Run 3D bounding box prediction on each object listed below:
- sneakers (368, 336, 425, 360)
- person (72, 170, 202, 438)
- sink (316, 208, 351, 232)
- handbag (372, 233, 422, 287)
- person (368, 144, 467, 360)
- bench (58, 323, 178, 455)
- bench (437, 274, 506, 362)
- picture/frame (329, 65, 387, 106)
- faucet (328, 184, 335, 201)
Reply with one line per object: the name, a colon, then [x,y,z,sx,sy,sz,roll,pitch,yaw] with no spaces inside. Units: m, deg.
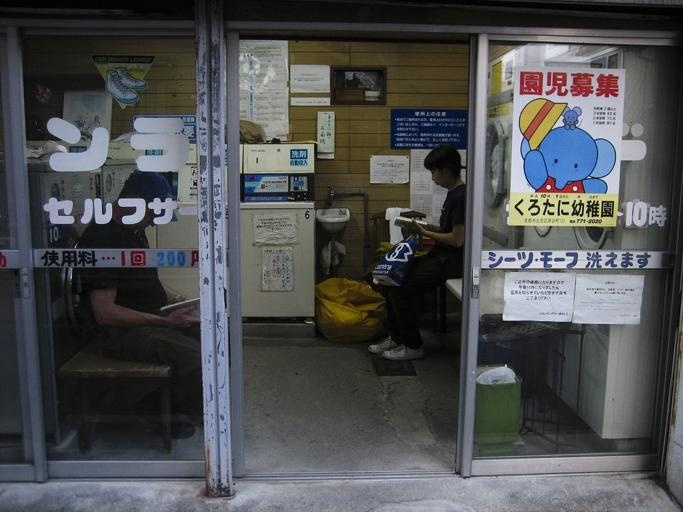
sneakers: [0.451,0.739,5.236,0.457,0.178,0.168,4,1,5]
person: [-1.066,0.310,3.618,0.809,1.429,0.641,16,15,-7]
sink: [-0.070,-0.345,6.232,0.338,0.230,0.399,0,9,1]
handbag: [0.463,0.009,5.035,0.306,0.162,0.490,12,57,33]
person: [0.627,0.017,4.894,0.564,1.702,1.221,-3,9,-19]
bench: [-1.227,0.765,3.693,0.594,0.433,0.500,1,8,-4]
bench: [0.804,0.281,3.770,0.444,0.403,0.102,-5,11,-9]
picture/frame: [0.175,-1.652,6.248,0.641,0.421,0.328,0,4,-2]
faucet: [-0.092,-0.628,6.367,0.068,0.152,0.048,0,9,-1]
